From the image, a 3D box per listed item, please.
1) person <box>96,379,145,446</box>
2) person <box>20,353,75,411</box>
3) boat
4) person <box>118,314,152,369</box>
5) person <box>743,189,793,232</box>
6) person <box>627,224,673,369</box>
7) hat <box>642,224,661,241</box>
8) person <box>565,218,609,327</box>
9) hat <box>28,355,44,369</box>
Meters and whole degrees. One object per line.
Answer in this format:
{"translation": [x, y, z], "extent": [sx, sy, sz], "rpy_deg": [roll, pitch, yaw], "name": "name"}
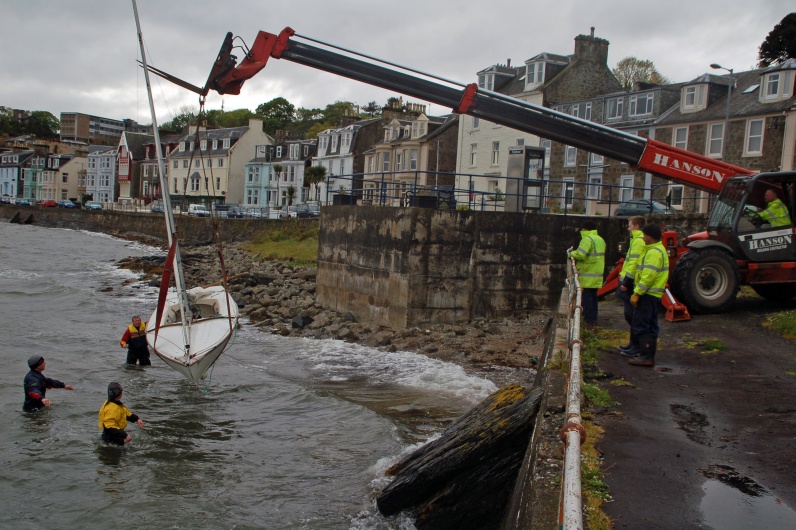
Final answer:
{"translation": [-6.222, 3.263, 15.567], "extent": [0.900, 1.404, 0.448], "rpy_deg": [-2, 11, 23], "name": "person"}
{"translation": [-8.500, 2.793, 16.690], "extent": [1.158, 1.382, 0.527], "rpy_deg": [1, 12, 38], "name": "person"}
{"translation": [-6.090, 2.081, 21.306], "extent": [2.481, 1.323, 5.222], "rpy_deg": [-8, 26, -14], "name": "boat"}
{"translation": [-7.571, 2.207, 20.336], "extent": [0.728, 1.524, 0.787], "rpy_deg": [-10, 10, -21], "name": "person"}
{"translation": [9.229, -1.376, 17.482], "extent": [1.113, 0.987, 0.264], "rpy_deg": [-8, 10, -7], "name": "person"}
{"translation": [4.881, 0.569, 13.810], "extent": [0.615, 2.638, 1.258], "rpy_deg": [-1, 11, 32], "name": "person"}
{"translation": [5.046, -0.638, 13.941], "extent": [0.293, 0.320, 0.337], "rpy_deg": [3, 17, -9], "name": "hat"}
{"translation": [4.521, 0.317, 16.600], "extent": [0.750, 2.500, 1.446], "rpy_deg": [-4, 10, 14], "name": "person"}
{"translation": [-8.487, 2.268, 16.515], "extent": [0.292, 0.299, 0.309], "rpy_deg": [-11, 11, -26], "name": "hat"}
